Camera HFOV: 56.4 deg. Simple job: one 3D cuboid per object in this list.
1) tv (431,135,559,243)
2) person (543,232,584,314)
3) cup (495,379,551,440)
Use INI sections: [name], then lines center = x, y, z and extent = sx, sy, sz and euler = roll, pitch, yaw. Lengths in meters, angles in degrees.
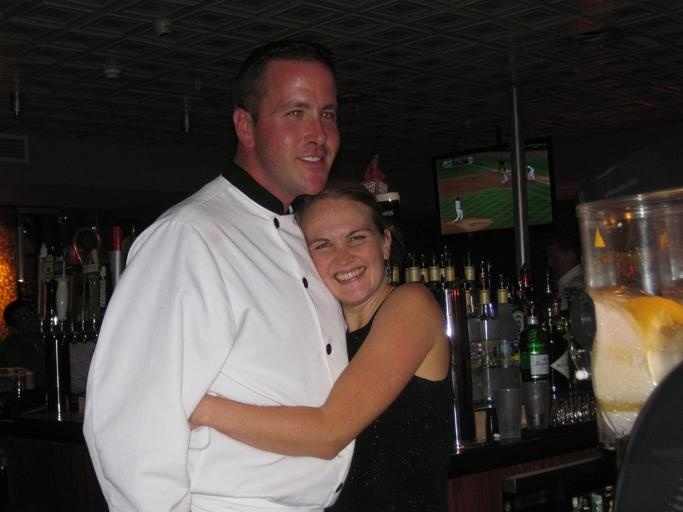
[tv]
center = 1.889, -0.846, 7.851
extent = 0.079, 1.021, 1.704
euler = -13, 9, -43
[person]
center = 1.993, 0.118, 5.762
extent = 0.447, 0.728, 0.923
euler = 1, -1, 13
[cup]
center = 0.718, 0.614, 2.532
extent = 0.210, 0.135, 0.094
euler = 2, -8, -41
